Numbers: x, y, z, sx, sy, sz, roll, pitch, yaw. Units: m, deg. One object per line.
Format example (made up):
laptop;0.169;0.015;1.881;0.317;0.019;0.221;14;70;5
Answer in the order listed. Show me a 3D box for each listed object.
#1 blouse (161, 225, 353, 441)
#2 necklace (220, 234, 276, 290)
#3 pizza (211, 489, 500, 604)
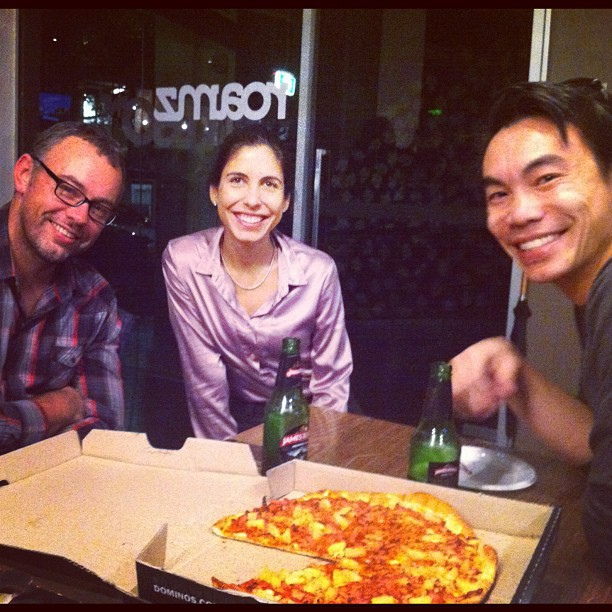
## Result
blouse;-0.156;0.095;1.695;0.601;0.658;0.081;3;14;15
necklace;-0.168;-0.123;1.639;0.164;0.160;0.011;1;13;6
pizza;0.078;0.464;1.096;0.525;0.140;0.360;-2;12;-6
